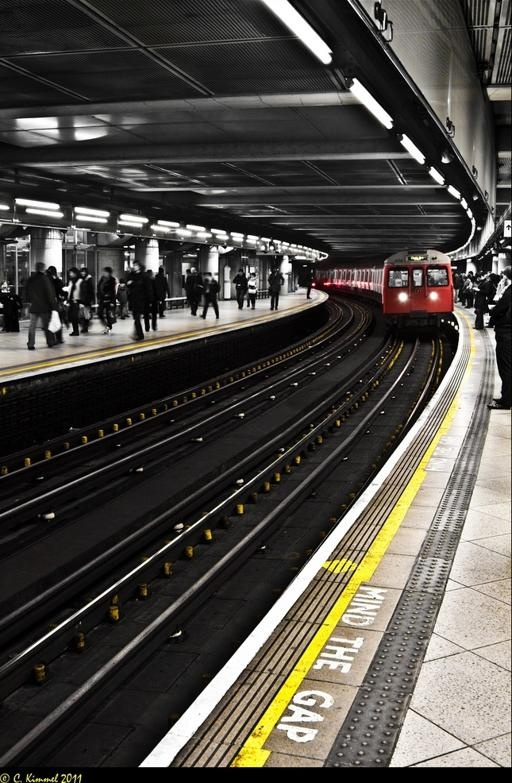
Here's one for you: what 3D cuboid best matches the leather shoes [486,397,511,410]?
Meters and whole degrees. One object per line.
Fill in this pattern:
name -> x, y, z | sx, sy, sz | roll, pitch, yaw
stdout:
leather shoes -> 4.070, 0.202, 9.580 | 0.271, 0.142, 0.393 | 0, -2, 15
